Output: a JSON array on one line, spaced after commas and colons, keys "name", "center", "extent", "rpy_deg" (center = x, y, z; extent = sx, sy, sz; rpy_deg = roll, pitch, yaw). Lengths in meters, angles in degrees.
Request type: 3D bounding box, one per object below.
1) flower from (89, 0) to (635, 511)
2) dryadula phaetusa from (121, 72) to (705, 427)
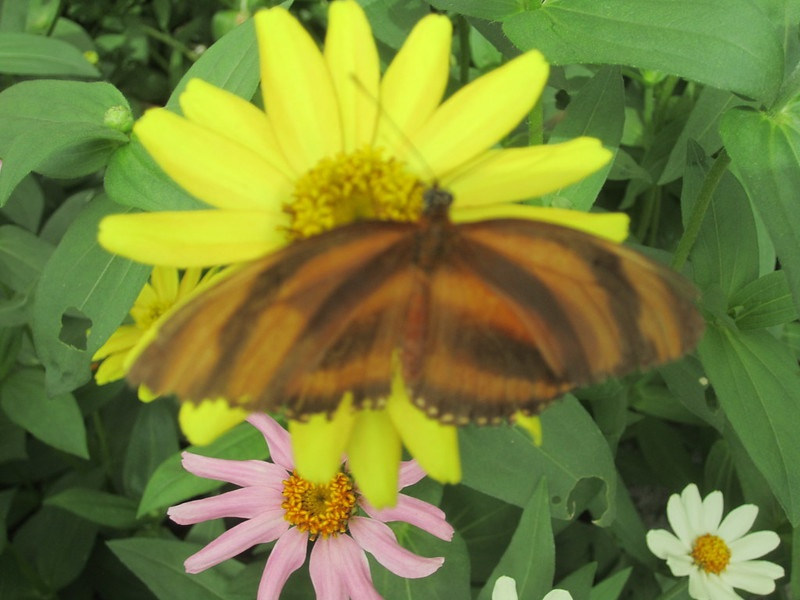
[{"name": "flower", "center": [-0.053, -0.094, 0.530], "extent": [0.350, 0.100, 0.386], "rpy_deg": [0, 89, 0]}, {"name": "dryadula phaetusa", "center": [0.003, -0.034, 0.628], "extent": [0.082, 0.395, 0.271], "rpy_deg": [23, 104, 25]}]
